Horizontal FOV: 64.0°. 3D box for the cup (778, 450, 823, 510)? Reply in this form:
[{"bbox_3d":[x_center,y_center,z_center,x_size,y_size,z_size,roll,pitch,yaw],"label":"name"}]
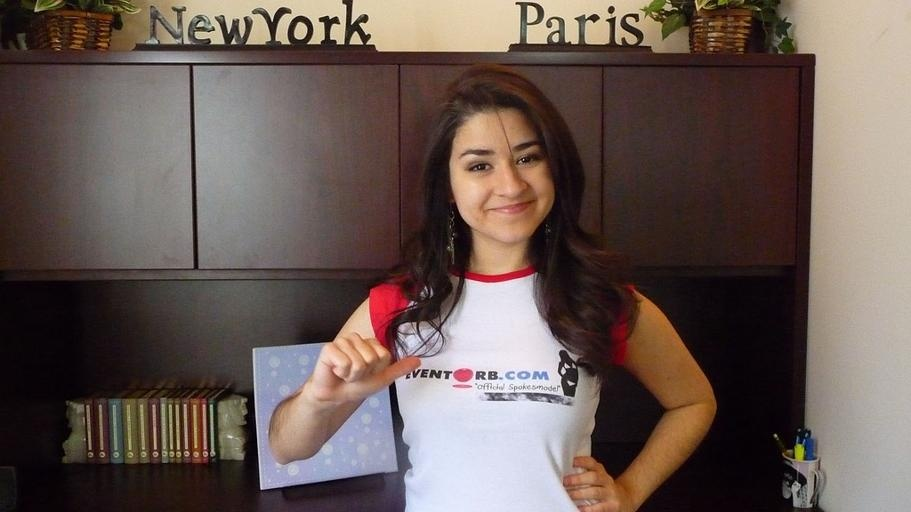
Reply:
[{"bbox_3d":[1.577,1.036,3.303,0.170,0.219,0.101,2,10,19],"label":"cup"}]

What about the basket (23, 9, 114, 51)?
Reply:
[{"bbox_3d":[-1.742,-1.014,3.286,0.368,0.166,0.096,-1,10,3],"label":"basket"}]

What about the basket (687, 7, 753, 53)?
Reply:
[{"bbox_3d":[1.216,-1.026,3.320,0.198,0.145,0.233,1,15,-3],"label":"basket"}]
